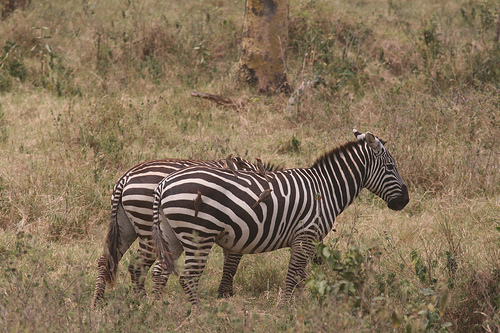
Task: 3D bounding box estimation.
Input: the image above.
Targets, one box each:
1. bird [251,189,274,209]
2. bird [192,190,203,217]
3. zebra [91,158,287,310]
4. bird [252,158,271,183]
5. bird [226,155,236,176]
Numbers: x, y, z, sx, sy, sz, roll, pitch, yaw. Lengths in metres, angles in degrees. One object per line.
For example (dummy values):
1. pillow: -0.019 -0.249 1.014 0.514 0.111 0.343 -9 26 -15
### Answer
1. bird: 0.159 0.356 8.622 0.362 0.049 0.111 -44 110 -14
2. bird: -0.626 0.429 8.374 0.076 0.029 0.269 12 95 -9
3. zebra: -0.865 0.891 8.778 2.587 1.930 0.744 10 35 37
4. bird: 0.130 0.010 8.896 0.130 0.105 0.384 -19 79 1
5. bird: -0.241 -0.022 8.782 0.066 0.062 0.226 -5 69 -31
